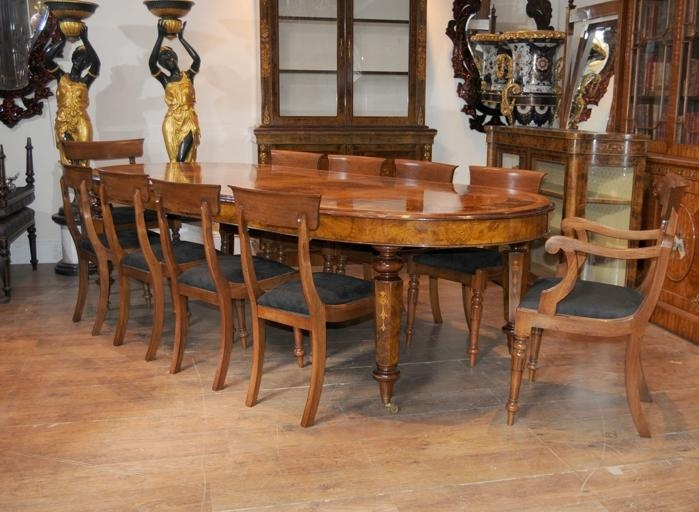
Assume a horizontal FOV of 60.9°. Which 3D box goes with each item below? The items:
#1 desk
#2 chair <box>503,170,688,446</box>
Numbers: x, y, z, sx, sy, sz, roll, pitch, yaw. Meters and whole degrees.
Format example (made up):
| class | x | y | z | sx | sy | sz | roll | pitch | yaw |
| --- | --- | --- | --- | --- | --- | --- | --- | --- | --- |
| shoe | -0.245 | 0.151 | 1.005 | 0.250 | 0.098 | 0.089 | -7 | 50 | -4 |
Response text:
| class | x | y | z | sx | sy | sz | roll | pitch | yaw |
| --- | --- | --- | --- | --- | --- | --- | --- | --- | --- |
| desk | 1.488 | -0.335 | 3.891 | 0.585 | 1.085 | 1.414 | -5 | 9 | -27 |
| chair | 1.217 | 0.226 | 2.969 | 0.686 | 1.244 | 0.616 | 5 | 17 | 22 |
